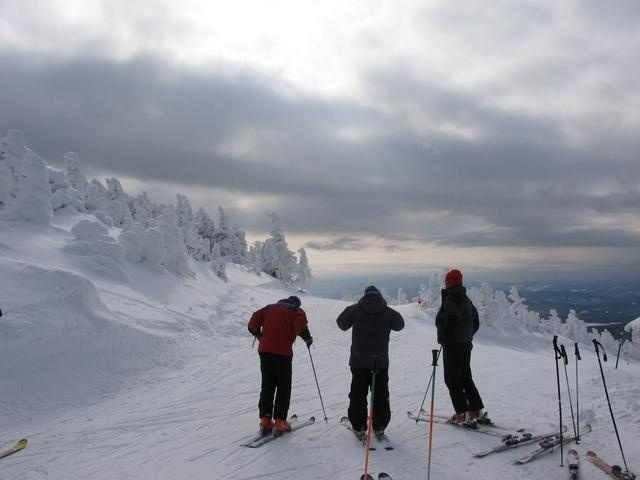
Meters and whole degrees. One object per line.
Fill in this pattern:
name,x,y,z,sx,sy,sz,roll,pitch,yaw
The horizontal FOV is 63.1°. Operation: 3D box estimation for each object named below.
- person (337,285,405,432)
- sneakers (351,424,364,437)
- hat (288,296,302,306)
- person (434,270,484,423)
person,1.295,3.179,13.857,1.465,3.884,0.667,-1,2,6
sneakers,1.019,5.082,13.750,0.198,0.428,0.234,-7,-17,25
hat,-0.719,1.691,14.676,0.253,0.223,0.293,-2,1,0
person,3.812,2.936,14.409,1.167,4.216,0.644,-1,2,10
